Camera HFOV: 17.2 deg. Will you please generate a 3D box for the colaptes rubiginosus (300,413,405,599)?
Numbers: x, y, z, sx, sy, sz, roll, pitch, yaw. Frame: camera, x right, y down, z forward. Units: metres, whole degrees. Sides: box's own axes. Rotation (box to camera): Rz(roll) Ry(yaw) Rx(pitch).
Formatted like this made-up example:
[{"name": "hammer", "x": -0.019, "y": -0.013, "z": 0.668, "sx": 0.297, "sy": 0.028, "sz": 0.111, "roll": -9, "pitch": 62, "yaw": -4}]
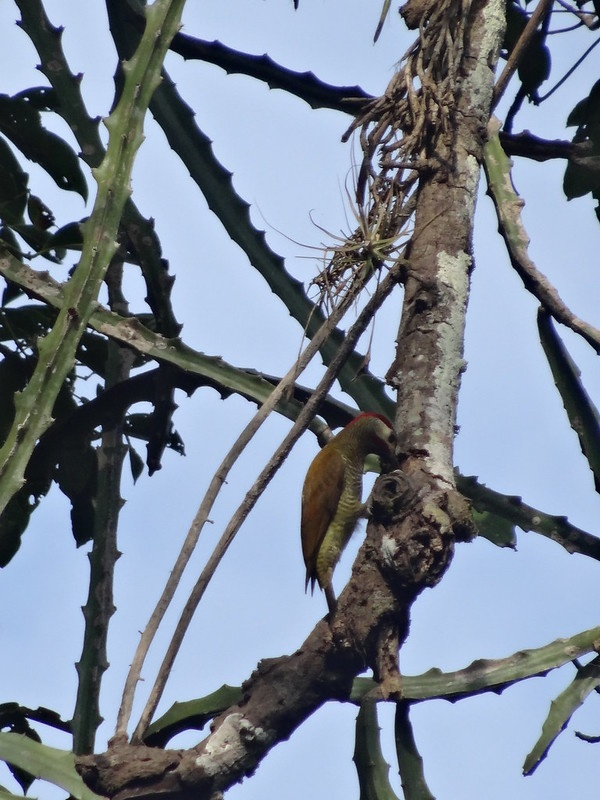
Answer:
[{"name": "colaptes rubiginosus", "x": 0.138, "y": 0.375, "z": 5.536, "sx": 0.277, "sy": 0.162, "sz": 0.675, "roll": -4, "pitch": 70, "yaw": 11}]
